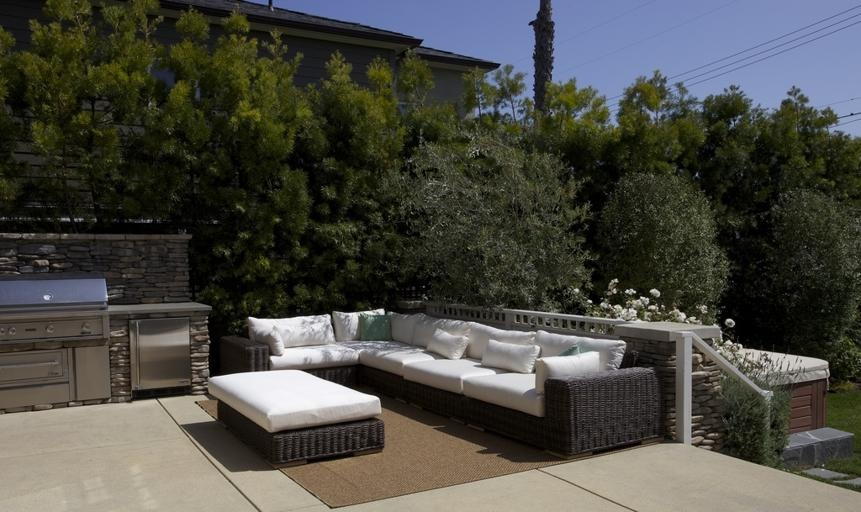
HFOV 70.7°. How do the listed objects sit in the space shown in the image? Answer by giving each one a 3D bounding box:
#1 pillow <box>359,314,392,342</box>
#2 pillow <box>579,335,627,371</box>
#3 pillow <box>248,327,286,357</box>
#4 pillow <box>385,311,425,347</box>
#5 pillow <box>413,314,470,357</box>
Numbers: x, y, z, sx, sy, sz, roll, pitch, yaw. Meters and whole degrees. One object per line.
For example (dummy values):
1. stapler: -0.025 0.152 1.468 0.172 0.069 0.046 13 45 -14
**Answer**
1. pillow: -1.055 1.449 11.828 0.557 0.515 0.204 2 -16 -3
2. pillow: 2.611 1.458 8.955 0.478 0.466 0.218 2 -14 21
3. pillow: -2.891 1.493 10.790 0.162 0.510 0.523 -13 7 -36
4. pillow: -0.471 1.423 11.534 0.197 0.363 0.552 41 -23 -32
5. pillow: 0.198 1.448 10.812 0.711 0.696 0.222 7 -20 34
